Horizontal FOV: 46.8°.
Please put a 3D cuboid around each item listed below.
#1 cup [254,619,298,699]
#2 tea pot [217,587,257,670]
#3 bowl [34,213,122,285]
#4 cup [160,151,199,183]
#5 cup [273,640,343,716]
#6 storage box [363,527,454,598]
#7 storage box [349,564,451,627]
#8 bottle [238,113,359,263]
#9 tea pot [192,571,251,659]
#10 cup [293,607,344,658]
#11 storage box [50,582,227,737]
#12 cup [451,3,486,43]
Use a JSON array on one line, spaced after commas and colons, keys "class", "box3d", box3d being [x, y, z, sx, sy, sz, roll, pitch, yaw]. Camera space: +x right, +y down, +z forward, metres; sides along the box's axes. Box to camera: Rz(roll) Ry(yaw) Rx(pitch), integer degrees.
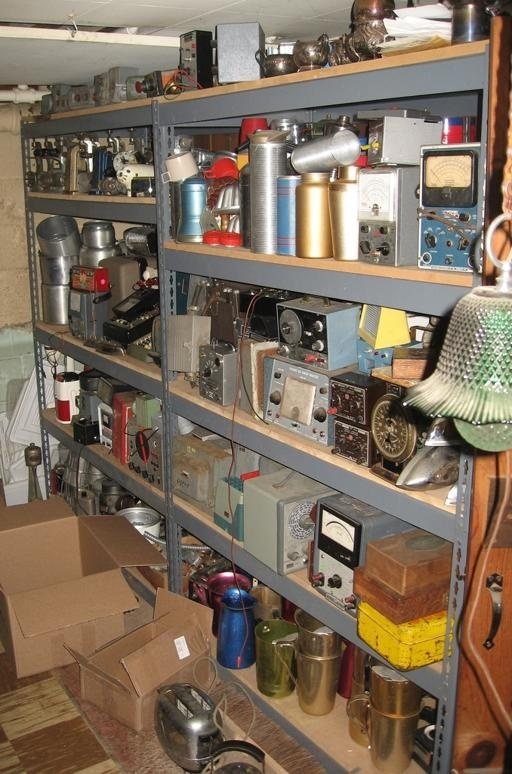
[{"class": "cup", "box3d": [0.081, 0.921, 1.966, 0.125, 0.207, 0.201, 0, -3, -22]}, {"class": "tea pot", "box3d": [-0.060, 0.899, 2.148, 0.134, 0.235, 0.213, 1, 1, -16]}, {"class": "bowl", "box3d": [-0.972, -0.729, 3.273, 0.454, 0.339, 0.281, 2, 31, 5]}, {"class": "cup", "box3d": [-0.267, -0.755, 2.051, 0.124, 0.093, 0.095, -6, 17, -11]}, {"class": "cup", "box3d": [0.173, 0.922, 1.891, 0.217, 0.245, 0.144, -2, 13, -6]}, {"class": "storage box", "box3d": [0.368, 0.425, 1.400, 0.202, 0.092, 0.148, 1, 12, -30]}, {"class": "storage box", "box3d": [0.342, 0.476, 1.416, 0.150, 0.070, 0.213, -12, 8, -23]}, {"class": "bottle", "box3d": [0.098, -0.527, 1.618, 0.199, 0.323, 0.471, -9, 17, -25]}, {"class": "tea pot", "box3d": [-0.171, 0.831, 2.335, 0.201, 0.228, 0.321, -2, 30, -18]}, {"class": "cup", "box3d": [0.167, 0.769, 1.855, 0.193, 0.134, 0.121, -4, 31, 6]}, {"class": "storage box", "box3d": [-0.396, 0.977, 2.125, 0.305, 0.275, 0.408, 8, 14, 37]}, {"class": "cup", "box3d": [0.361, -0.616, 1.004, 0.056, 0.067, 0.047, 3, 16, 17]}]
